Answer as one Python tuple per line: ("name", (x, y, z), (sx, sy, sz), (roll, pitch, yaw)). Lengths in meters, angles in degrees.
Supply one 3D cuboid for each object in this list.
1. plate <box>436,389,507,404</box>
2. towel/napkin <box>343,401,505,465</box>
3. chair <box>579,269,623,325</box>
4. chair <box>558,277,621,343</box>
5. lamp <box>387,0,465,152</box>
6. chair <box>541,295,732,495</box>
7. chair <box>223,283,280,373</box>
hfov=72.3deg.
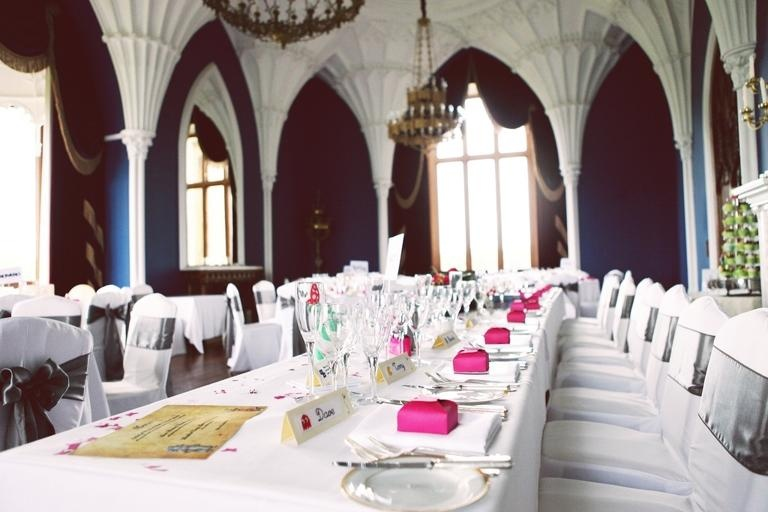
("plate", (0.367, 0.572, 2.167), (0.177, 0.033, 0.132), (-2, -9, 6))
("towel/napkin", (0.245, 0.683, 1.936), (0.371, 0.081, 0.405), (-26, -3, 19))
("chair", (2.575, 0.509, 6.381), (0.391, 0.855, 0.545), (3, 4, 30))
("chair", (2.249, 0.598, 5.882), (0.423, 0.904, 0.560), (1, 0, 21))
("lamp", (0.920, -3.609, 10.648), (1.199, 3.109, 5.596), (0, 9, 8))
("chair", (1.566, 0.701, 3.632), (0.803, 1.147, 2.520), (1, 5, 19))
("chair", (-1.566, 0.882, 6.450), (0.612, 1.098, 0.724), (-6, -6, -13))
